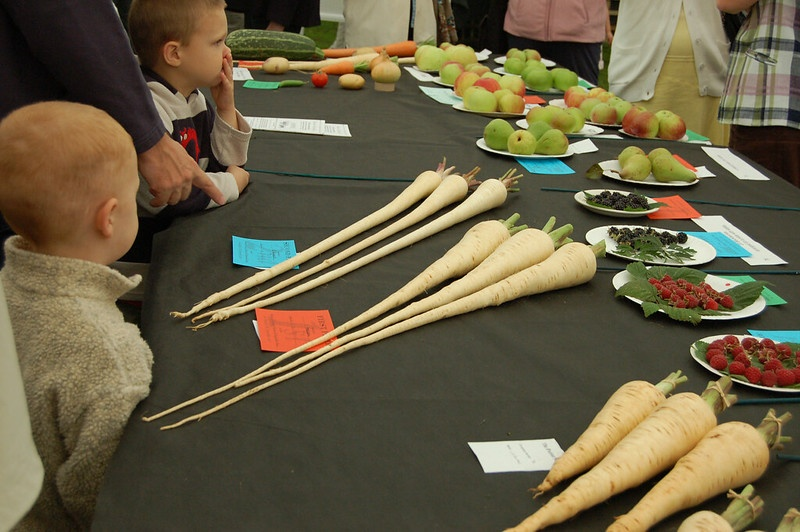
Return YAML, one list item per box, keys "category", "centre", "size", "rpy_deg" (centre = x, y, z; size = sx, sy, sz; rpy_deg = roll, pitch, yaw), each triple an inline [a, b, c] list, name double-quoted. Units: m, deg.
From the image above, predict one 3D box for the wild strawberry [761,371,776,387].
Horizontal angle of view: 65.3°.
- category: "wild strawberry"
  centre: [1.005, 0.304, 1.682]
  size: [0.035, 0.041, 0.044]
  rpy_deg: [-4, -2, 4]

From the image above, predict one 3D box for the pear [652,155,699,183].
- category: "pear"
  centre: [1.271, -0.411, 2.876]
  size: [0.188, 0.108, 0.105]
  rpy_deg: [19, -10, -7]

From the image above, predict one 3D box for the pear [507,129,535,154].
- category: "pear"
  centre: [0.606, -0.592, 3.077]
  size: [0.110, 0.117, 0.115]
  rpy_deg: [-19, 45, 6]

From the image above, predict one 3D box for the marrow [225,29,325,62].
- category: "marrow"
  centre: [-0.872, -1.662, 4.678]
  size: [0.804, 0.277, 0.295]
  rpy_deg: [1, -6, -7]

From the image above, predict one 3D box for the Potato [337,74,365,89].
- category: "Potato"
  centre: [-0.314, -1.193, 4.074]
  size: [0.123, 0.076, 0.097]
  rpy_deg: [1, 12, -15]

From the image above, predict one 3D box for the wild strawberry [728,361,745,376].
- category: "wild strawberry"
  centre: [0.932, 0.280, 1.708]
  size: [0.031, 0.035, 0.039]
  rpy_deg: [22, 61, 11]

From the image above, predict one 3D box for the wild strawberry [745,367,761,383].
- category: "wild strawberry"
  centre: [0.969, 0.294, 1.693]
  size: [0.037, 0.033, 0.026]
  rpy_deg: [0, 30, -1]

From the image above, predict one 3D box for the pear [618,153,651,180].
- category: "pear"
  centre: [1.083, -0.441, 2.869]
  size: [0.130, 0.106, 0.099]
  rpy_deg: [-21, 36, -17]

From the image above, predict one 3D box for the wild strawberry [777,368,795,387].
- category: "wild strawberry"
  centre: [1.054, 0.303, 1.683]
  size: [0.038, 0.046, 0.046]
  rpy_deg: [1, 14, -35]

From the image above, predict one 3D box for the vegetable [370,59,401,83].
- category: "vegetable"
  centre: [-0.091, -1.266, 4.079]
  size: [0.147, 0.157, 0.151]
  rpy_deg: [21, 30, 36]

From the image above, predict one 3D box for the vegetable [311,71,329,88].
- category: "vegetable"
  centre: [-0.523, -1.214, 4.069]
  size: [0.095, 0.106, 0.100]
  rpy_deg: [1, -3, -4]

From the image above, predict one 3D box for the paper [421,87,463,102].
- category: "paper"
  centre: [0.279, -1.109, 4.047]
  size: [0.174, 0.028, 0.208]
  rpy_deg: [1, 30, -15]

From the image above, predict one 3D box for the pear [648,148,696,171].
- category: "pear"
  centre: [1.292, -0.499, 2.942]
  size: [0.217, 0.103, 0.099]
  rpy_deg: [15, 17, 8]

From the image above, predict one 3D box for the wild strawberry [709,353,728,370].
- category: "wild strawberry"
  centre: [0.892, 0.267, 1.731]
  size: [0.041, 0.041, 0.036]
  rpy_deg: [2, -6, -7]
